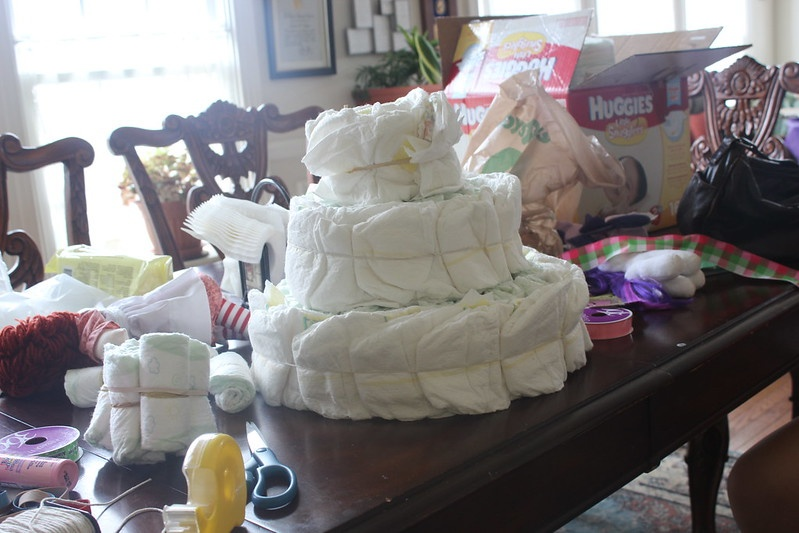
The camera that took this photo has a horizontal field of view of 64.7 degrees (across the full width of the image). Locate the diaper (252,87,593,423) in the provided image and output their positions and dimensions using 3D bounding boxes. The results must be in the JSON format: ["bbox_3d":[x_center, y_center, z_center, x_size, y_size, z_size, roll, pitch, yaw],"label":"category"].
[{"bbox_3d":[0.030,-0.014,1.068,0.495,0.417,0.490,-8,11,-22],"label":"diaper"}]

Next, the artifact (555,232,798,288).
[{"bbox_3d":[0.546,-0.010,1.206,0.409,0.046,0.086,2,37,-3],"label":"artifact"}]

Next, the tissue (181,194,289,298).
[{"bbox_3d":[-0.320,-0.080,1.238,0.192,0.238,0.177,-15,25,-38],"label":"tissue"}]

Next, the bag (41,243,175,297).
[{"bbox_3d":[-0.588,0.001,1.259,0.201,0.071,0.126,6,8,9],"label":"bag"}]

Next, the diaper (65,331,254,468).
[{"bbox_3d":[-0.329,0.177,0.908,0.224,0.180,0.132,-3,6,-15],"label":"diaper"}]

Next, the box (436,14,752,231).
[{"bbox_3d":[0.452,-0.368,1.580,0.373,0.504,0.678,-10,17,-19],"label":"box"}]
